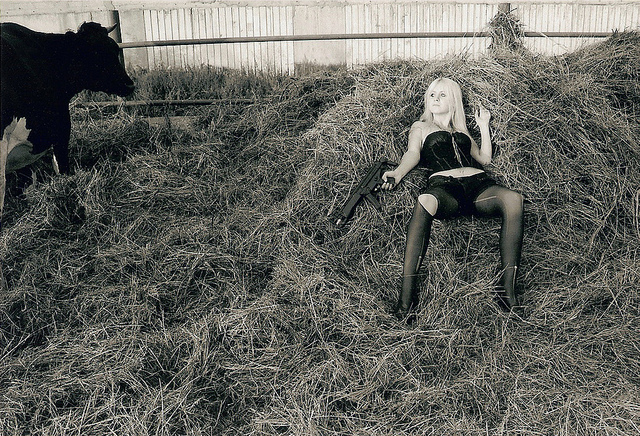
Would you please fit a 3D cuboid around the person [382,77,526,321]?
[{"bbox_3d":[0.853,-0.155,3.696,0.888,1.371,0.862,0,19,6],"label":"person"}]
